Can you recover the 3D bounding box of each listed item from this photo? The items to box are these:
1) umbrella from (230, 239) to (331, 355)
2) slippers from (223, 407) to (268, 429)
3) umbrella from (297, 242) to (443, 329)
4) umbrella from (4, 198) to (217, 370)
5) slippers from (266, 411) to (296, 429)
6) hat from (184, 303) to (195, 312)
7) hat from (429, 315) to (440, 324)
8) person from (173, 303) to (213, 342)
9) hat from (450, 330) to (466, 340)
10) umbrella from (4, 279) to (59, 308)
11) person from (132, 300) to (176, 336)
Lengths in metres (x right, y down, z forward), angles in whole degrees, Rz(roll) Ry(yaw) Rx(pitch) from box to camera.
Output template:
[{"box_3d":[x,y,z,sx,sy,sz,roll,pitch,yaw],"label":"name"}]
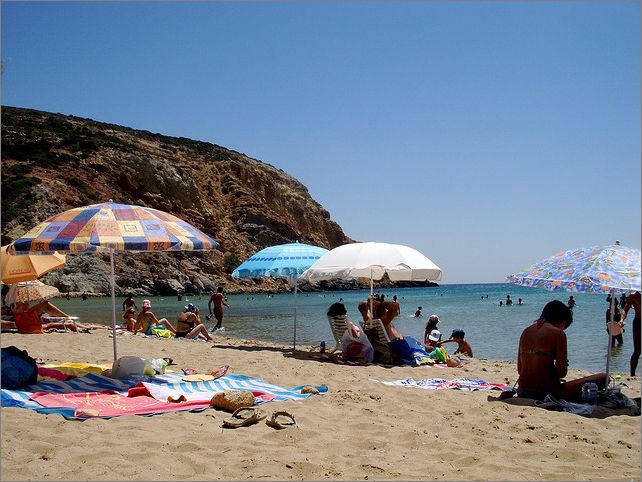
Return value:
[{"box_3d":[-0.803,0.876,12.122,2.113,1.260,1.794,-2,2,3],"label":"umbrella"},{"box_3d":[-0.958,2.194,7.242,0.204,0.079,0.418,10,8,43],"label":"slippers"},{"box_3d":[1.065,0.889,11.076,2.194,0.986,1.846,-2,-7,20],"label":"umbrella"},{"box_3d":[-3.137,0.573,8.931,3.158,1.965,2.693,0,-4,-16],"label":"umbrella"},{"box_3d":[-0.513,2.219,7.226,0.367,0.128,0.409,2,1,-3],"label":"slippers"},{"box_3d":[-3.306,1.670,14.556,0.213,0.171,0.283,4,1,39],"label":"hat"},{"box_3d":[2.443,1.706,12.693,0.201,0.116,0.286,2,4,44],"label":"hat"},{"box_3d":[-3.198,2.025,14.592,1.029,0.783,1.153,9,-1,6],"label":"person"},{"box_3d":[2.810,1.949,12.195,0.389,0.175,0.279,-2,-5,42],"label":"hat"},{"box_3d":[-7.512,1.319,14.711,1.073,0.840,1.053,-1,3,33],"label":"umbrella"},{"box_3d":[-4.299,2.065,15.652,1.052,0.752,1.491,-2,-7,34],"label":"person"}]
